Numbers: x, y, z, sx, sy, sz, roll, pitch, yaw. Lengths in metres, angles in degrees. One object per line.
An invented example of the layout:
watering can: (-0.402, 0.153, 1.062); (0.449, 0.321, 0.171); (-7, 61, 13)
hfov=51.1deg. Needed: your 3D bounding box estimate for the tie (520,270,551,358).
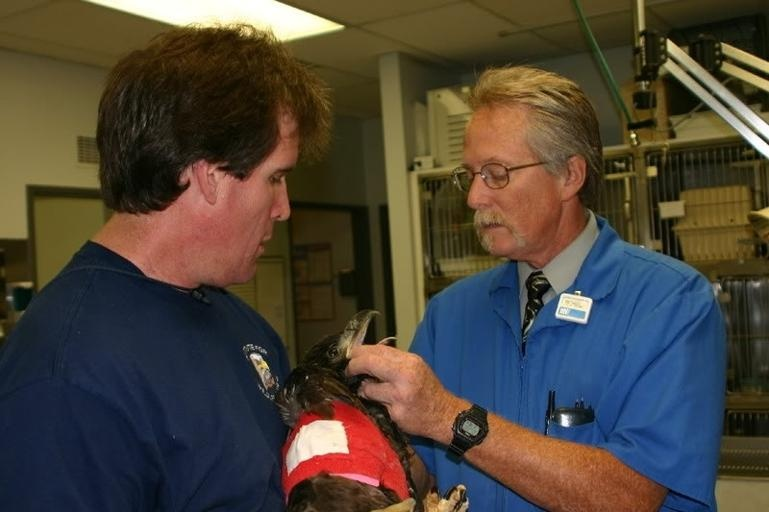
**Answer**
tie: (0.611, 0.192, 3.228); (0.081, 0.402, 0.102); (2, -23, 27)
